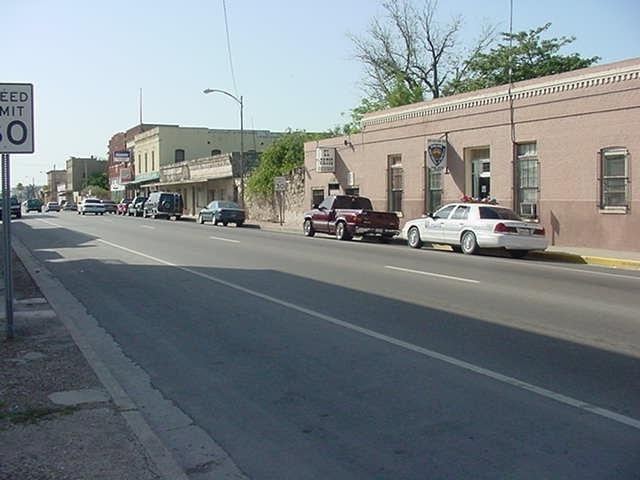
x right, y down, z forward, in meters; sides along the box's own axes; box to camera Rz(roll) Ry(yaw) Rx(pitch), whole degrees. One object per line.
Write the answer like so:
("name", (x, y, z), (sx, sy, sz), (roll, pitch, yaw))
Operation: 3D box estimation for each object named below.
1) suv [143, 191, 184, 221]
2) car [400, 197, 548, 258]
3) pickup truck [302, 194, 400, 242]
("suv", (-13.417, -2.920, 50.879), (1.930, 1.901, 3.723), (0, 7, -24))
("car", (5.133, -0.324, 20.683), (1.882, 1.511, 4.569), (0, 5, -25))
("pickup truck", (1.394, -0.890, 26.321), (1.885, 1.568, 4.000), (2, 5, -27))
